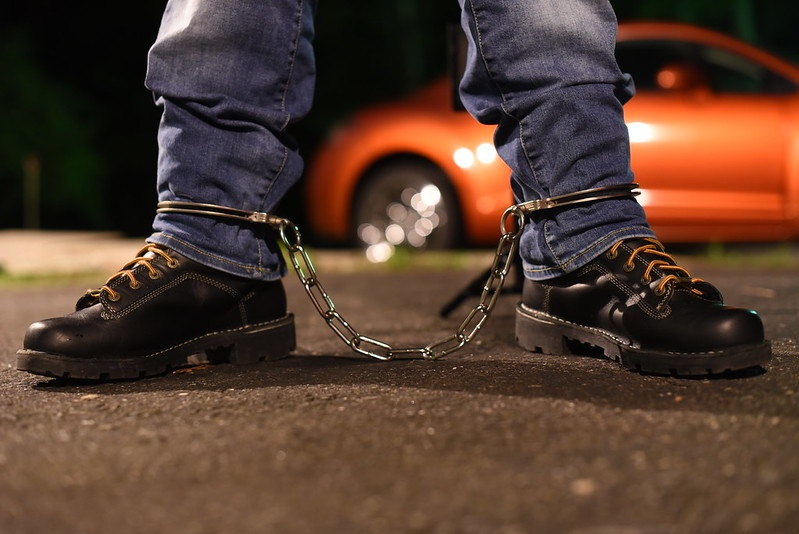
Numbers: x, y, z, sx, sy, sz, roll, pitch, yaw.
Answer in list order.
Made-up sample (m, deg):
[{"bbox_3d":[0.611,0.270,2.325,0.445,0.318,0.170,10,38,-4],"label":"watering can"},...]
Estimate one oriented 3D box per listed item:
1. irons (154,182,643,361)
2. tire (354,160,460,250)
[{"bbox_3d":[0.039,0.040,2.379,1.529,0.467,0.109,-5,10,-16],"label":"irons"},{"bbox_3d":[0.025,-0.357,4.743,0.593,0.540,0.144,-3,9,31],"label":"tire"}]
